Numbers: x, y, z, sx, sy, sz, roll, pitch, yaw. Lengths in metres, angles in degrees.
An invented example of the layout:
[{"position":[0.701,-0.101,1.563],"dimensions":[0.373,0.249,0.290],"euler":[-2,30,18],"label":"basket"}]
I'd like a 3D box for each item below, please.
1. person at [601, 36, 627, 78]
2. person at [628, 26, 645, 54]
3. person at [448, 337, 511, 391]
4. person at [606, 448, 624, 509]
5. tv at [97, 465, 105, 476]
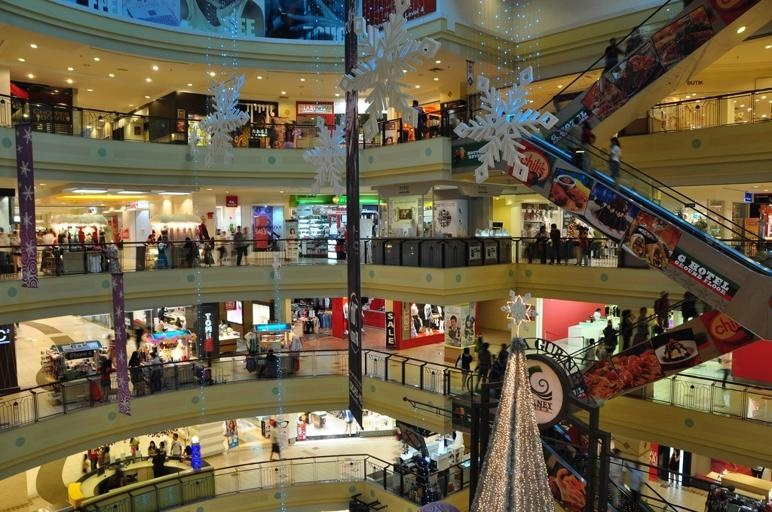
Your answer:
[{"position":[6.987,-6.047,19.095],"dimensions":[0.518,0.975,0.611],"euler":[0,5,23],"label":"person"},{"position":[7.540,-6.539,18.860],"dimensions":[0.493,0.956,1.171],"euler":[0,5,22],"label":"person"},{"position":[3.408,3.736,21.026],"dimensions":[1.082,1.509,2.224],"euler":[-5,5,-26],"label":"person"},{"position":[6.815,6.245,18.417],"dimensions":[0.402,1.493,2.564],"euler":[-1,5,20],"label":"person"},{"position":[-10.905,8.245,23.851],"dimensions":[0.256,0.233,0.068],"euler":[-6,-22,35],"label":"tv"}]
